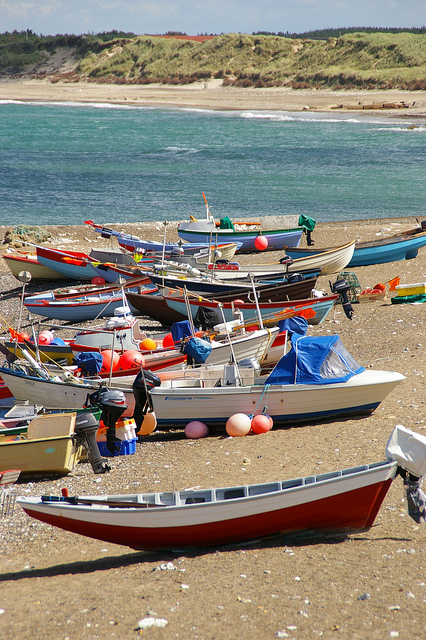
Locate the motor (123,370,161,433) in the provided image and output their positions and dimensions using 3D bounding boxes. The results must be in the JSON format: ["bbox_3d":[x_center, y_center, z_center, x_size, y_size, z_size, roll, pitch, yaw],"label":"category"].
[{"bbox_3d":[-1.147,1.234,14.955,0.492,1.250,0.373,4,9,32],"label":"motor"}]

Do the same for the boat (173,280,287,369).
[{"bbox_3d":[0.139,0.209,18.114,1.032,1.346,3.176,-26,23,-24],"label":"boat"}]

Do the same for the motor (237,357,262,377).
[{"bbox_3d":[0.637,0.808,15.862,0.267,0.183,0.348,-8,13,5],"label":"motor"}]

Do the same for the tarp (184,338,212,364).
[{"bbox_3d":[-0.259,0.547,16.109,0.447,0.400,0.157,30,-19,-36],"label":"tarp"}]

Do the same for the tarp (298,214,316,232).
[{"bbox_3d":[2.906,-3.003,28.577,0.579,0.263,0.559,17,51,-10],"label":"tarp"}]

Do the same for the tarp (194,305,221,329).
[{"bbox_3d":[-0.102,0.011,19.454,0.184,0.406,0.555,-21,-20,26],"label":"tarp"}]

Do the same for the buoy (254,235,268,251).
[{"bbox_3d":[1.643,-2.565,30.905,0.420,0.494,0.418,4,45,18],"label":"buoy"}]

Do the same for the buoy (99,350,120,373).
[{"bbox_3d":[-1.892,0.761,16.743,0.360,0.409,0.359,0,-4,8],"label":"buoy"}]

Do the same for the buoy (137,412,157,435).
[{"bbox_3d":[-1.051,1.680,14.878,0.276,0.313,0.114,8,9,34],"label":"buoy"}]

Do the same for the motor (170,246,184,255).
[{"bbox_3d":[-0.967,-1.851,25.447,0.243,0.164,0.244,2,3,20],"label":"motor"}]

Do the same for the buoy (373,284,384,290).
[{"bbox_3d":[4.073,-0.768,22.653,0.240,0.147,0.321,3,17,9],"label":"buoy"}]

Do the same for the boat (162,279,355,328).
[{"bbox_3d":[1.085,-0.300,20.357,3.896,1.078,0.924,-4,-7,-1],"label":"boat"}]

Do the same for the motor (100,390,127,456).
[{"bbox_3d":[-1.487,1.494,13.778,0.434,0.807,0.393,27,24,39],"label":"motor"}]

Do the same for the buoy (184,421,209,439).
[{"bbox_3d":[-0.271,1.799,14.977,0.322,0.245,0.252,4,46,9],"label":"buoy"}]

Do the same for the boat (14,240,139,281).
[{"bbox_3d":[-3.452,-1.408,25.693,2.961,1.076,1.406,11,20,31],"label":"boat"}]

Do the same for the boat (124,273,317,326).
[{"bbox_3d":[0.334,-0.563,21.101,4.964,1.180,1.002,-7,40,-8],"label":"boat"}]

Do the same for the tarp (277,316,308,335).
[{"bbox_3d":[1.549,0.125,17.895,0.489,0.240,0.349,1,12,24],"label":"tarp"}]

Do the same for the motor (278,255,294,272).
[{"bbox_3d":[1.942,-1.450,24.149,0.209,0.268,0.734,-6,13,2],"label":"motor"}]

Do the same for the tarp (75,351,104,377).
[{"bbox_3d":[-2.150,0.740,16.249,0.456,0.438,0.360,-18,5,21],"label":"tarp"}]

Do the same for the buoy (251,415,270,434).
[{"bbox_3d":[0.757,1.668,14.683,0.275,0.324,0.276,3,-5,4],"label":"buoy"}]

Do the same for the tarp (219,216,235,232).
[{"bbox_3d":[0.506,-3.180,31.197,0.373,0.421,0.578,-2,2,-1],"label":"tarp"}]

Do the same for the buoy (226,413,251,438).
[{"bbox_3d":[0.389,1.724,14.801,0.413,0.344,0.360,-20,-4,-16],"label":"buoy"}]

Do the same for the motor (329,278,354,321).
[{"bbox_3d":[2.894,-0.512,20.360,0.287,1.069,0.342,-23,14,0],"label":"motor"}]

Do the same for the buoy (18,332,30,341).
[{"bbox_3d":[-3.750,0.356,18.271,0.218,0.078,0.132,15,7,24],"label":"buoy"}]
